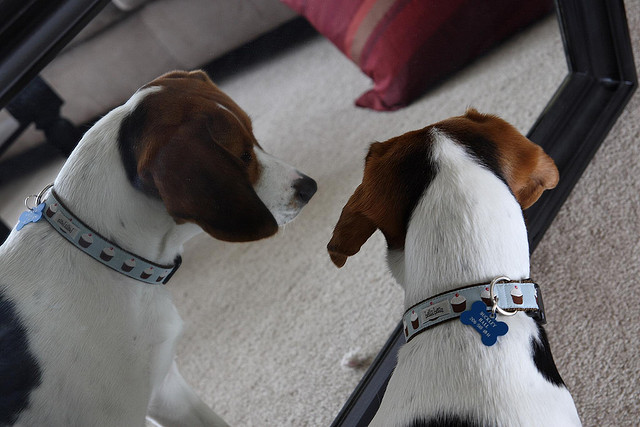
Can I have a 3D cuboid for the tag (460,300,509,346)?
[{"bbox_3d":[0.320,0.214,1.257,0.057,0.027,0.083,-45,63,-5],"label":"tag"}]
